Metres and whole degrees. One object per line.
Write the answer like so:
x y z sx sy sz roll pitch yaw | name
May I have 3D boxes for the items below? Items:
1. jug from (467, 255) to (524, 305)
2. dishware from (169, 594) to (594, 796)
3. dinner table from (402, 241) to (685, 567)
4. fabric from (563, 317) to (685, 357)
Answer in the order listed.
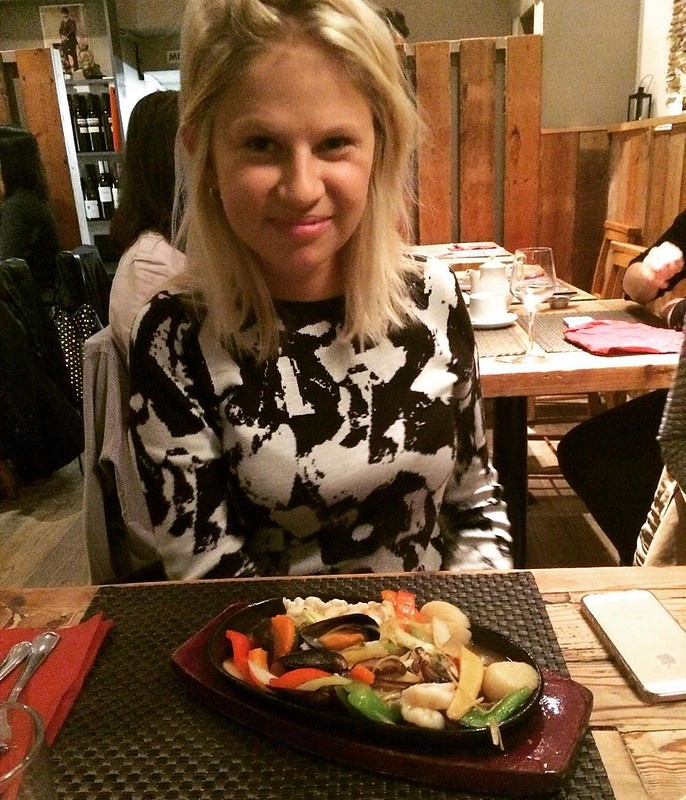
0.532 -0.415 2.353 0.233 0.206 0.155 -1 15 -8 | jug
0.021 0.220 0.539 0.264 0.026 0.128 9 17 23 | dishware
0.554 -0.005 2.231 1.113 0.946 1.039 -1 14 -1 | dinner table
0.803 -0.187 1.927 0.310 0.041 0.373 4 22 15 | fabric
